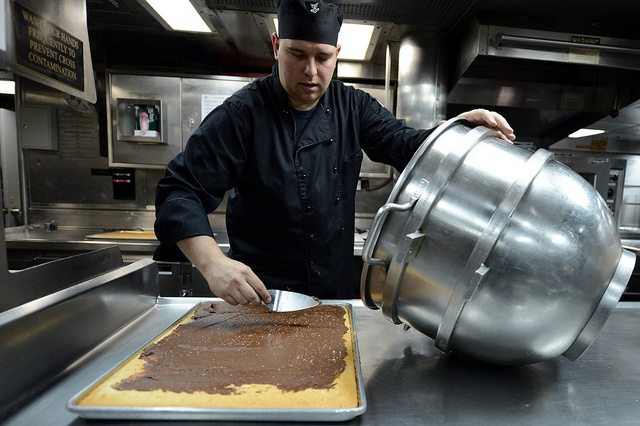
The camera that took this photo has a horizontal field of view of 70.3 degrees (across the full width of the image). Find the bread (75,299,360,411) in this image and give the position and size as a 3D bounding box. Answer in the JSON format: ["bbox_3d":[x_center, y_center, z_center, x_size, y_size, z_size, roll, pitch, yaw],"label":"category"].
[{"bbox_3d":[-0.316,0.503,1.673,0.895,0.176,0.518,2,8,-1],"label":"bread"}]

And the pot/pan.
[{"bbox_3d":[0.632,0.182,1.710,0.765,0.723,0.912,30,8,28],"label":"pot/pan"}]
